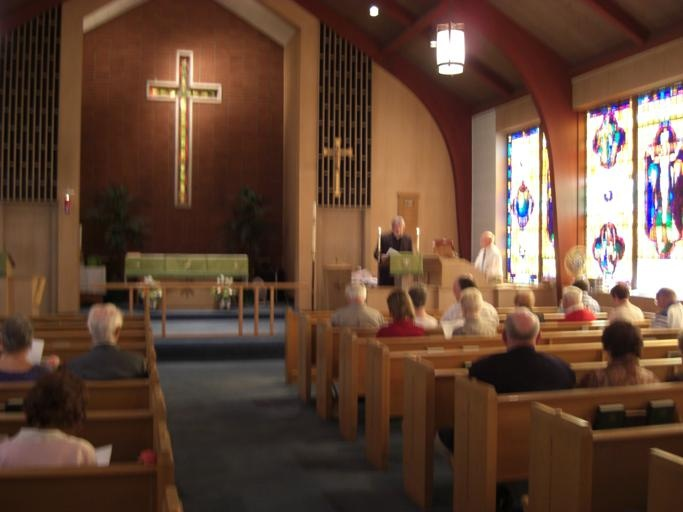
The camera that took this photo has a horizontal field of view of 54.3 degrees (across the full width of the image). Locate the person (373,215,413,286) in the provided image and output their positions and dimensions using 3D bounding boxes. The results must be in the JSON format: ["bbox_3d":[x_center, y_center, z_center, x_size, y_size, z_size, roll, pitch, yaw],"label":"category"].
[{"bbox_3d":[0.701,-0.086,8.947,0.489,0.869,1.112,-1,4,4],"label":"person"}]

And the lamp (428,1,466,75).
[{"bbox_3d":[1.258,-2.430,7.732,0.308,0.557,0.210,1,3,24],"label":"lamp"}]
